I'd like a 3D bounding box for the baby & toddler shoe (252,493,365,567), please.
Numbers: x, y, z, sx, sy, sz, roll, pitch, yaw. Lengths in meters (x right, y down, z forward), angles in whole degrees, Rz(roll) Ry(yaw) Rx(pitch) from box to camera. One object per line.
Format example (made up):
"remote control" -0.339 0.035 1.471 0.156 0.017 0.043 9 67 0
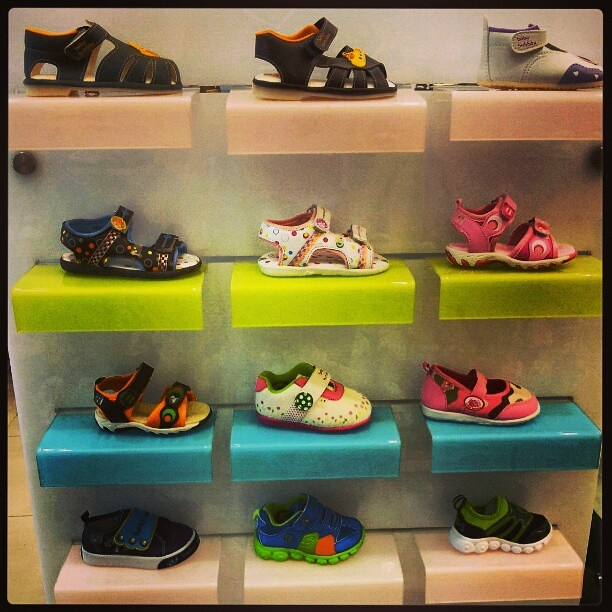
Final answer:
"baby & toddler shoe" 0.003 0.570 1.578 0.283 0.157 0.148 0 22 0

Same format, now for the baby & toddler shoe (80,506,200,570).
"baby & toddler shoe" -0.429 0.600 1.523 0.256 0.125 0.141 2 13 -11

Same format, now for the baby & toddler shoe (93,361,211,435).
"baby & toddler shoe" -0.375 0.235 1.519 0.268 0.173 0.156 0 20 -4

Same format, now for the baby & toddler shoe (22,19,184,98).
"baby & toddler shoe" -0.411 -0.538 1.296 0.329 0.166 0.146 -3 21 -9

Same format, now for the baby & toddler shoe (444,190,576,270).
"baby & toddler shoe" 0.446 -0.185 1.383 0.307 0.193 0.151 -1 15 1

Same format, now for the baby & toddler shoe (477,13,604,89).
"baby & toddler shoe" 0.451 -0.522 1.215 0.304 0.159 0.116 1 17 1

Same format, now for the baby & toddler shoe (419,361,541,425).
"baby & toddler shoe" 0.434 0.204 1.521 0.276 0.146 0.143 1 9 2

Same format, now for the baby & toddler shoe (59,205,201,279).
"baby & toddler shoe" -0.385 -0.164 1.408 0.321 0.175 0.152 0 16 -7

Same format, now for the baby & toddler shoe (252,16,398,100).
"baby & toddler shoe" 0.042 -0.526 1.267 0.296 0.171 0.140 -3 26 -6

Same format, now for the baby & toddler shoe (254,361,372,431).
"baby & toddler shoe" 0.011 0.224 1.489 0.263 0.133 0.147 1 19 -2

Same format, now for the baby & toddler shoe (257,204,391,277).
"baby & toddler shoe" 0.034 -0.158 1.344 0.284 0.159 0.150 -2 14 -5
